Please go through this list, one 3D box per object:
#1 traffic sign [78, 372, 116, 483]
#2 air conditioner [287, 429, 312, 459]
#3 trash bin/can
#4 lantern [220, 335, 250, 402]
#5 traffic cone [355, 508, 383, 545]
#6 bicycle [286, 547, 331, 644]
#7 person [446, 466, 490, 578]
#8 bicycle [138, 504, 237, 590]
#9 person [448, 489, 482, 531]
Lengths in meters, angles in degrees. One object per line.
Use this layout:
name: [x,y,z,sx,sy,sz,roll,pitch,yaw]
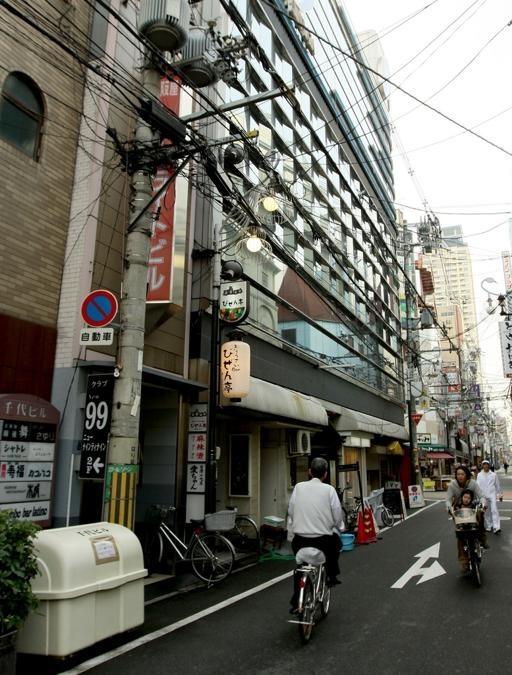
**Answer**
traffic sign: [-2.196,1.187,6.906,0.627,1.438,0.208,-14,-18,41]
air conditioner: [1.221,3.061,14.609,0.372,0.935,1.004,-8,-17,26]
trash bin/can: [-1.477,2.066,4.454,0.987,1.137,1.142,6,-2,8]
lantern: [-0.447,0.683,10.903,0.517,1.429,0.475,6,-6,-26]
traffic cone: [2.799,4.708,12.808,0.488,0.848,1.400,-8,-14,21]
bicycle: [0.629,2.469,4.995,0.462,0.607,1.023,-4,-12,10]
person: [3.185,2.818,7.611,0.752,1.440,1.842,-2,-9,20]
bicycle: [-1.021,3.329,8.244,1.178,1.136,1.823,6,-16,-31]
person: [3.175,2.675,7.699,0.389,0.459,0.815,-7,-28,17]
